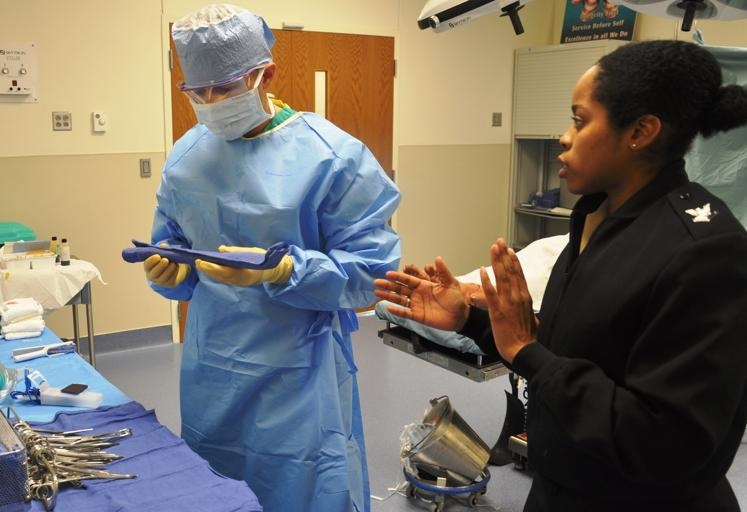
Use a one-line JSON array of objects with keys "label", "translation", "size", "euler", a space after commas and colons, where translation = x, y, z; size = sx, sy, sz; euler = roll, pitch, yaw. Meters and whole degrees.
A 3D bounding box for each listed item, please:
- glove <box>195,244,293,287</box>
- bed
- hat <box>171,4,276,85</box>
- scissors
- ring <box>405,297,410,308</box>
[{"label": "glove", "translation": [-0.452, -0.004, 1.868], "size": [0.294, 0.109, 0.340], "euler": [9, 5, 2]}, {"label": "bed", "translation": [0.732, 0.205, 3.537], "size": [1.264, 0.501, 0.797], "euler": [-8, 13, -41]}, {"label": "hat", "translation": [-0.468, -0.656, 1.938], "size": [0.221, 0.189, 0.297], "euler": [24, 43, 28]}, {"label": "scissors", "translation": [-0.865, 0.574, 1.743], "size": [0.314, 0.097, 0.362], "euler": [-2, 16, -36]}, {"label": "ring", "translation": [0.081, 0.114, 1.448], "size": [0.006, 0.017, 0.013], "euler": [-13, -3, 37]}]
